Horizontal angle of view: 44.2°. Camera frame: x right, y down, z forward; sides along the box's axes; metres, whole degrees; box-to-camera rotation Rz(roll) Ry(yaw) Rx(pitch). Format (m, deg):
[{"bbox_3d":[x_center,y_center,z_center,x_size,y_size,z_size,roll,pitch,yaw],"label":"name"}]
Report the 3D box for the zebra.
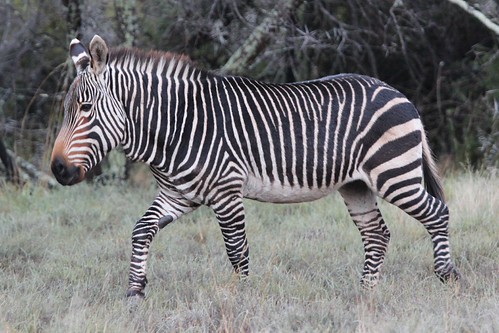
[{"bbox_3d":[0.979,0.110,10.081,7.477,5.601,2.256,1,-5,-13],"label":"zebra"}]
